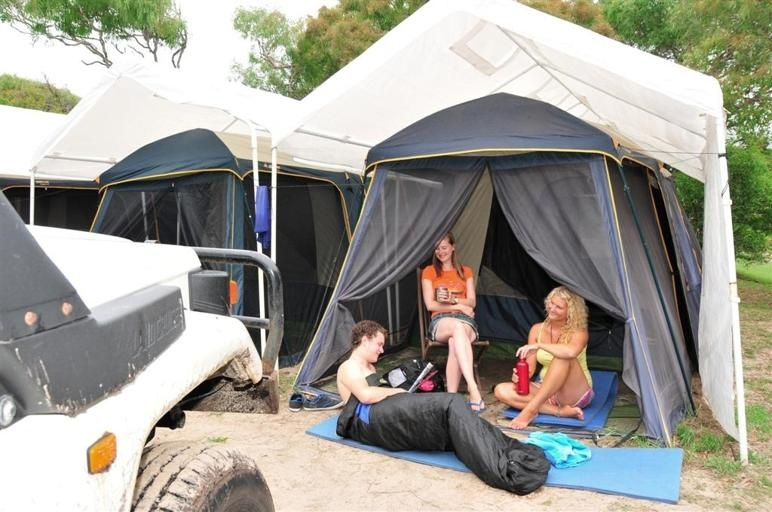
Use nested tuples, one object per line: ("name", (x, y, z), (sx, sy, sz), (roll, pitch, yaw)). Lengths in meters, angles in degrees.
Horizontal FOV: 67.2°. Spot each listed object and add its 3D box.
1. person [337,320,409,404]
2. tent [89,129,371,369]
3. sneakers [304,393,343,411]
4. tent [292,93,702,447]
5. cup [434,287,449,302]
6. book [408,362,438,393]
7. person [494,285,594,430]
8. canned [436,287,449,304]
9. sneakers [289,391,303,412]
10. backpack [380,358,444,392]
("person", (-0.063, 0.823, 4.593), (0.529, 0.656, 0.757), (1, 0, 8))
("tent", (-2.067, -0.767, 6.903), (3.285, 1.754, 3.297), (-16, 20, -12))
("sneakers", (-0.577, 1.324, 5.174), (0.377, 0.163, 0.139), (-3, 12, -10))
("tent", (1.185, -0.323, 5.854), (3.296, 2.314, 3.394), (2, 4, 25))
("cup", (0.519, 0.368, 5.378), (0.128, 0.105, 0.108), (0, 1, 27))
("book", (0.294, 1.030, 4.809), (0.093, 0.248, 0.183), (41, -15, 20))
("person", (1.354, 0.817, 4.854), (0.779, 1.079, 0.585), (-1, 9, -5))
("canned", (0.519, 0.366, 5.378), (0.130, 0.109, 0.110), (0, 1, 28))
("sneakers", (-0.809, 1.299, 5.150), (0.092, 0.072, 0.179), (2, 9, 2))
("backpack", (0.224, 1.026, 4.857), (0.391, 0.166, 0.300), (-4, -20, -16))
